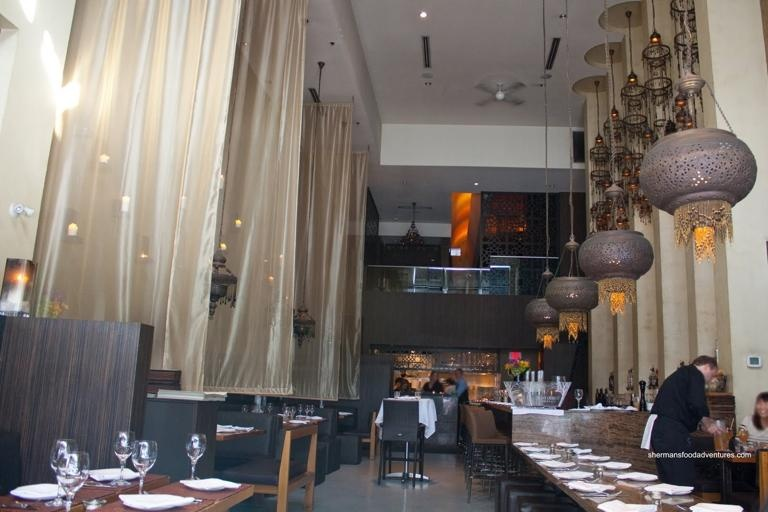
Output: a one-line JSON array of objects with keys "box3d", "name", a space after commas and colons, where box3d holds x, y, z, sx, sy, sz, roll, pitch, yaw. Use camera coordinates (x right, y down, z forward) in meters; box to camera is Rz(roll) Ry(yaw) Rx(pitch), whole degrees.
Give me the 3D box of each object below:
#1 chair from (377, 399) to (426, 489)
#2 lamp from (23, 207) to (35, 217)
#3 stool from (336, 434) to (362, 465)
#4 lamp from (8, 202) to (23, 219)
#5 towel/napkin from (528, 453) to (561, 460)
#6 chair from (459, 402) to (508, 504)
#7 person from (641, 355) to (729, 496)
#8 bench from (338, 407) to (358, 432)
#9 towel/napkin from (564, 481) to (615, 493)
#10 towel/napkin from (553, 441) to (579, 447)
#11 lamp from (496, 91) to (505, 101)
[{"box3d": [0.249, 2.678, 9.412, 0.679, 1.196, 2.097, 1, -8, 0], "name": "chair"}, {"box3d": [-3.145, -0.396, 5.641, 0.053, 0.097, 0.109, 2, -8, -2], "name": "lamp"}, {"box3d": [-0.533, 3.025, 9.998, 0.322, 0.436, 0.313, 1, -8, 1], "name": "stool"}, {"box3d": [-3.193, -0.396, 5.535, 0.083, 0.120, 0.045, 0, 11, -35], "name": "lamp"}, {"box3d": [1.354, 1.686, 5.361, 0.147, 0.030, 0.098, -4, -10, -4], "name": "towel/napkin"}, {"box3d": [1.308, 2.586, 8.341, 0.486, 1.098, 1.404, 0, -12, 4], "name": "chair"}, {"box3d": [2.679, 1.662, 5.754, 0.596, 1.544, 0.525, 5, -4, 14], "name": "person"}, {"box3d": [-0.615, 2.836, 10.940, 0.471, 0.475, 0.453, 1, -13, 2], "name": "bench"}, {"box3d": [1.417, 1.578, 4.375, 0.330, 0.035, 0.338, -2, -8, 20], "name": "towel/napkin"}, {"box3d": [1.758, 1.811, 6.134, 0.142, 0.045, 0.144, -2, -12, -3], "name": "towel/napkin"}, {"box3d": [2.184, -3.024, 11.994, 0.122, 0.147, 0.159, 0, 0, 7], "name": "lamp"}]
